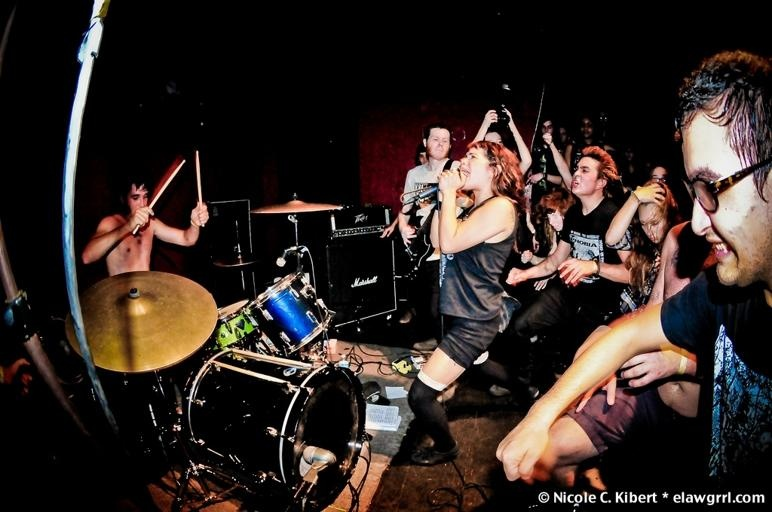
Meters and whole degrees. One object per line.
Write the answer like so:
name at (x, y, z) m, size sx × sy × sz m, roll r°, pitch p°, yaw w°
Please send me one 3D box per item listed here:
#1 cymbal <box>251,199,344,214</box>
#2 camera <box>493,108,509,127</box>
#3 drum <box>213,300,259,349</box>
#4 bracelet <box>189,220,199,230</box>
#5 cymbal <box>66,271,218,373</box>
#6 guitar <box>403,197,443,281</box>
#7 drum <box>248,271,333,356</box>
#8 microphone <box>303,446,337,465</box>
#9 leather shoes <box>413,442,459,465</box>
cymbal at (-0.875, -0.489, 5.480) m, size 0.522 × 0.178 × 0.817 m, roll 6°, pitch 13°, yaw 44°
camera at (1.296, -1.550, 6.049) m, size 0.059 × 0.219 × 0.240 m, roll -17°, pitch -26°, yaw -8°
drum at (-0.950, 0.476, 3.839) m, size 0.348 × 0.213 × 0.308 m, roll -31°, pitch -18°, yaw 36°
bracelet at (-1.747, -0.289, 4.910) m, size 0.061 × 0.055 × 0.056 m, roll 15°, pitch 11°, yaw -20°
cymbal at (-1.438, 0.383, 3.337) m, size 0.749 × 0.541 × 0.422 m, roll -9°, pitch 11°, yaw -29°
guitar at (0.350, -0.176, 5.091) m, size 0.182 × 1.027 × 0.398 m, roll -20°, pitch 44°, yaw -24°
drum at (-0.670, 0.404, 3.938) m, size 0.549 × 0.423 × 0.551 m, roll -42°, pitch 0°, yaw 0°
microphone at (-0.402, 1.190, 3.212) m, size 0.131 × 0.053 × 0.128 m, roll 12°, pitch 22°, yaw 4°
leather shoes at (0.347, 1.369, 3.764) m, size 0.310 × 0.115 × 0.140 m, roll 1°, pitch 12°, yaw 1°
